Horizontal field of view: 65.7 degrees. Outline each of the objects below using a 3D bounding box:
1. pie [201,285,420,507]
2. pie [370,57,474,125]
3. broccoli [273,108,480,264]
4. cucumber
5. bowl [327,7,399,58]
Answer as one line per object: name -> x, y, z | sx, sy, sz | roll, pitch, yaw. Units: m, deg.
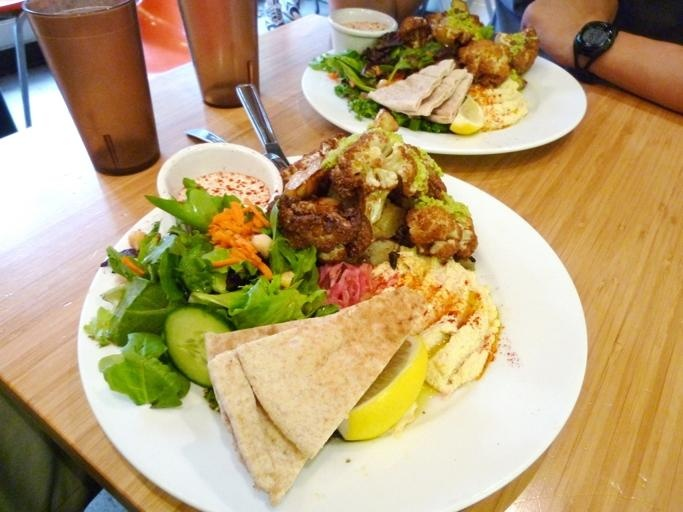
pie -> -0.110, 0.308, 1.762 | 0.697, 0.462, 0.618 | -10, 24, -23
pie -> 0.408, -0.803, 2.601 | 0.407, 0.151, 0.425 | 28, 56, 37
broccoli -> 0.158, -0.305, 2.056 | 0.719, 0.495, 0.569 | -1, 25, 8
cucumber -> -0.439, 0.273, 1.679 | 0.229, 0.306, 0.090 | 2, 20, -1
bowl -> 0.117, -1.242, 2.941 | 0.359, 0.161, 0.358 | 1, 47, -1
